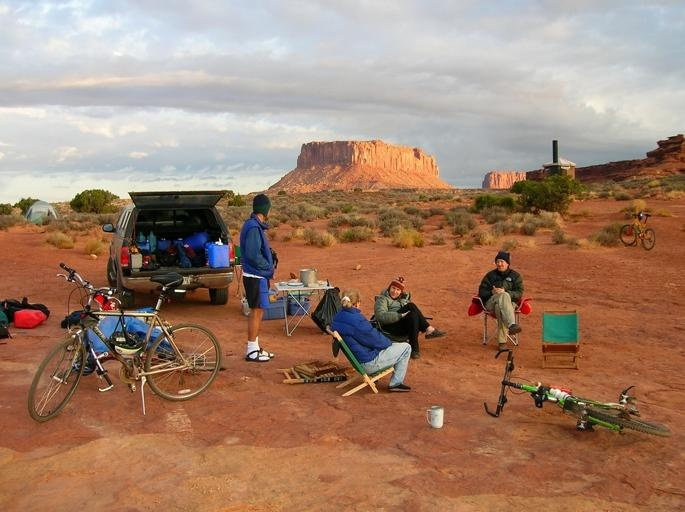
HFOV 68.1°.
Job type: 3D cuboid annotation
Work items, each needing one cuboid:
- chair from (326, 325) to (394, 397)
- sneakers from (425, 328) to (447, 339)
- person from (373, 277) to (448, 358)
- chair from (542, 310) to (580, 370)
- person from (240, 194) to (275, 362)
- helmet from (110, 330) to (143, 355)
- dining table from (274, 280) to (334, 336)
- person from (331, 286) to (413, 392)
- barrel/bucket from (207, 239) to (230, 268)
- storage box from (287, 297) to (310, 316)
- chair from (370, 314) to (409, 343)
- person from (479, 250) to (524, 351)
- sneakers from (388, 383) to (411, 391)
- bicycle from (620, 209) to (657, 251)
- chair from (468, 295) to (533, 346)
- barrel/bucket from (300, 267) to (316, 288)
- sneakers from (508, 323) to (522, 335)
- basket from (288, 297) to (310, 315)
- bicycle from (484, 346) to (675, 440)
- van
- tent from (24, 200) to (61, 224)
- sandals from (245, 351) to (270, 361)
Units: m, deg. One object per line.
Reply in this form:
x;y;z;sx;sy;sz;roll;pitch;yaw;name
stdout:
0.244;1.375;6.444;0.942;0.580;0.551;7;-13;-7;chair
1.466;1.196;7.806;0.439;0.129;0.135;-5;12;4;sneakers
0.940;0.878;7.660;1.116;0.876;0.660;12;14;36;person
3.178;1.208;7.478;0.654;0.850;0.728;1;5;15;chair
-1.188;0.325;7.135;0.474;2.387;0.443;0;11;-14;person
-2.321;0.933;5.471;0.329;0.241;0.253;-3;10;-29;helmet
-0.770;0.841;9.418;1.307;0.703;1.092;0;14;-5;dining table
0.352;1.061;6.199;0.995;1.251;0.345;2;10;-1;person
-2.295;-0.017;9.319;0.419;0.448;0.302;0;10;-12;barrel/bucket
-0.841;0.931;9.438;0.426;0.187;0.462;0;0;-10;storage box
0.717;1.070;7.895;0.559;0.537;0.443;0;10;6;chair
2.484;0.709;8.118;0.707;1.509;0.891;5;10;15;person
0.685;1.631;6.305;0.281;0.080;0.094;-1;4;-4;sneakers
10.535;-0.983;18.242;1.095;1.240;3.756;7;9;29;bicycle
2.629;1.025;8.477;0.907;0.583;0.493;-1;-9;19;chair
-0.618;0.376;8.978;0.387;0.236;0.255;1;1;-2;barrel/bucket
2.596;1.127;7.790;0.132;0.175;0.191;-3;10;-29;sneakers
-0.850;0.923;9.429;0.406;0.179;0.440;0;0;-9;basket
2.410;1.478;5.492;1.860;0.616;0.809;6;3;38;bicycle
-3.553;-0.430;10.397;2.324;1.682;3.878;-8;14;-19;van
-21.438;-3.250;36.179;1.776;1.527;6.108;-3;8;-30;tent
-1.206;1.424;7.252;0.293;0.076;0.190;1;3;-3;sandals
